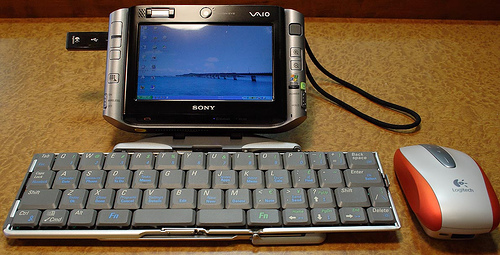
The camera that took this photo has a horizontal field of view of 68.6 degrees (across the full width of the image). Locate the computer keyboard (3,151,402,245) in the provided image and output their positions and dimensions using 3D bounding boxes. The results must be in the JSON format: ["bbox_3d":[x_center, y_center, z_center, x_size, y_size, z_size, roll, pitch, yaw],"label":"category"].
[{"bbox_3d":[-0.117,0.176,0.924,0.965,0.078,0.229,1,61,-2],"label":"computer keyboard"}]

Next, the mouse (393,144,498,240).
[{"bbox_3d":[0.499,0.153,0.930,0.190,0.078,0.240,-7,61,-6],"label":"mouse"}]

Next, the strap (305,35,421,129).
[{"bbox_3d":[0.301,-0.113,1.084,0.415,0.070,0.107,33,65,15],"label":"strap"}]
